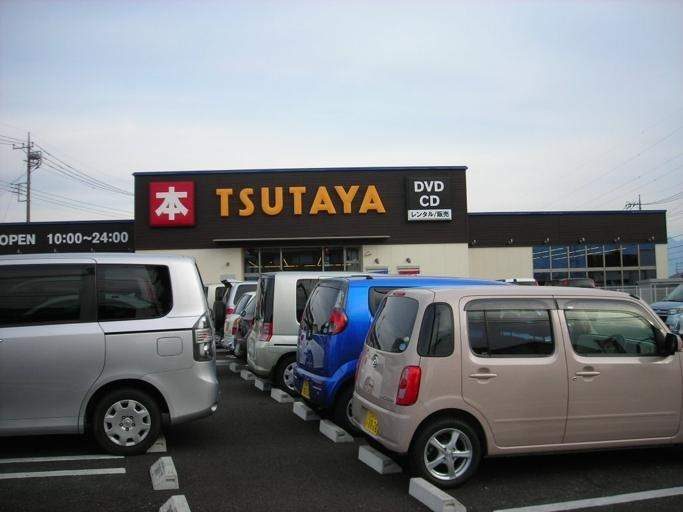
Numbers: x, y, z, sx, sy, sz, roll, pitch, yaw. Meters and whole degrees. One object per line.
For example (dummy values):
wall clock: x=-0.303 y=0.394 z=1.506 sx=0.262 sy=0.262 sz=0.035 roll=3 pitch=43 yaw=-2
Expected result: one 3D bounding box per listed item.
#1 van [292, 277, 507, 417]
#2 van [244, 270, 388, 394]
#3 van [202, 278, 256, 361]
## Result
van: x=0.746 y=1.156 z=7.834 sx=2.853 sy=1.437 sz=1.652 roll=-1 pitch=-1 yaw=-13
van: x=0.105 y=1.011 z=10.236 sx=3.562 sy=2.149 sz=1.803 roll=-6 pitch=14 yaw=-13
van: x=-3.184 y=1.590 z=15.642 sx=1.753 sy=1.565 sz=2.940 roll=-1 pitch=1 yaw=-5
